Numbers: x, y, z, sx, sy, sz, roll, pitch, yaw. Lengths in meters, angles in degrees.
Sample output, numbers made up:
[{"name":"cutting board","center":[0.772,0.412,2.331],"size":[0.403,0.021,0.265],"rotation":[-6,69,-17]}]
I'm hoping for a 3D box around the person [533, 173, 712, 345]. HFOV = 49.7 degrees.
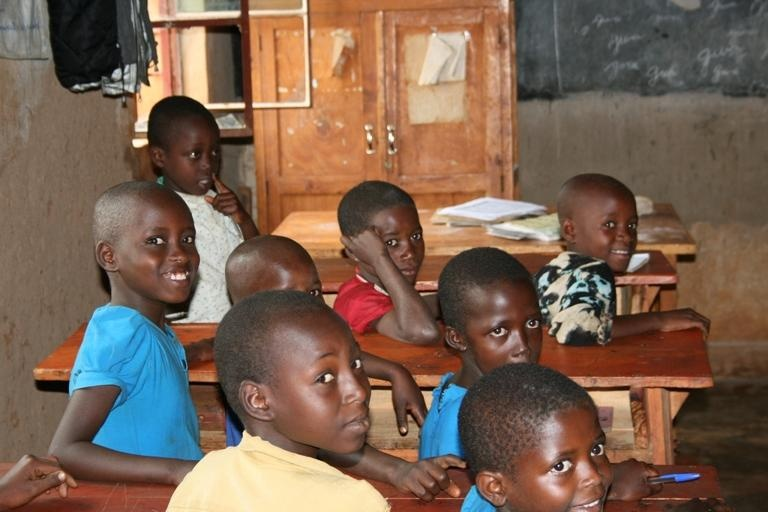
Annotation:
[{"name":"person","center":[1.009,0.040,3.671],"size":[0.807,0.662,1.048],"rotation":[0,9,18]}]
